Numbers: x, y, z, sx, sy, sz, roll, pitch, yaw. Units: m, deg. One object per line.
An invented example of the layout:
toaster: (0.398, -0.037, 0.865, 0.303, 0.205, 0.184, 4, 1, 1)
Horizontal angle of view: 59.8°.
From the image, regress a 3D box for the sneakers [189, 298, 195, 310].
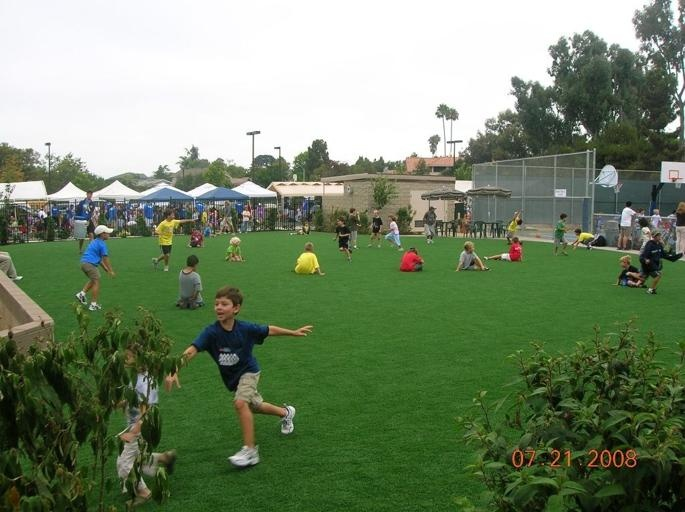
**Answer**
sneakers: (-2.876, 0.915, 11.480, 0.105, 0.157, 0.062, -3, -6, -31)

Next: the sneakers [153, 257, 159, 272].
sneakers: (-5.605, 0.265, 17.919, 0.152, 0.366, 0.129, 13, 20, 21)

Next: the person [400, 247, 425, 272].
person: (1.984, 0.108, 17.521, 0.683, 0.851, 0.638, -8, 13, -44)

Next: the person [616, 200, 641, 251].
person: (11.438, -1.224, 23.767, 0.560, 1.951, 0.667, 0, 8, -10)

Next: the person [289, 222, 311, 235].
person: (-2.565, -1.664, 36.895, 1.233, 0.845, 1.057, -1, 2, 21)

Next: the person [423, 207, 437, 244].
person: (4.203, -1.494, 28.391, 0.471, 1.672, 1.646, 1, 5, 7)

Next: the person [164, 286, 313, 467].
person: (-0.912, 1.054, 5.525, 0.901, 1.564, 0.738, 0, 5, -4)

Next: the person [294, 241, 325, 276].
person: (-0.899, 0.031, 16.709, 1.086, 0.869, 0.688, 16, 22, 28)

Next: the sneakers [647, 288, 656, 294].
sneakers: (6.902, 0.771, 13.248, 0.182, 0.111, 0.411, 3, 6, 29)

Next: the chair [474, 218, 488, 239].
chair: (7.703, -1.550, 33.399, 0.949, 1.324, 0.970, -1, -2, 31)

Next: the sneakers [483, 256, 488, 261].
sneakers: (5.013, 0.079, 20.765, 0.128, 0.115, 0.319, -3, -3, -5)

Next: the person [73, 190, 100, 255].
person: (-9.564, -1.292, 22.362, 0.803, 2.340, 0.818, 5, 4, 36)

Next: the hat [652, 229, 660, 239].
hat: (7.162, -0.470, 13.577, 0.172, 0.251, 0.466, 2, 5, 26)

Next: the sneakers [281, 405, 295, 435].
sneakers: (-0.532, 1.640, 5.942, 0.099, 0.303, 0.129, 0, 1, 35)

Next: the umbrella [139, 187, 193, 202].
umbrella: (-11.316, -4.034, 38.540, 2.666, 0.957, 3.589, -2, 5, -25)

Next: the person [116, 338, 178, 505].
person: (-1.573, 1.323, 4.794, 0.480, 1.289, 1.777, -2, 5, -21)

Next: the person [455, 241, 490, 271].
person: (3.802, -0.004, 17.670, 0.813, 0.835, 1.017, -1, 12, 10)

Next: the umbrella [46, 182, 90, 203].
umbrella: (-19.024, -4.259, 41.199, 2.890, 1.293, 2.799, -3, 4, -44)

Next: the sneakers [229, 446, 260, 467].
sneakers: (-0.846, 1.789, 5.345, 0.321, 0.188, 0.117, 5, -7, -17)

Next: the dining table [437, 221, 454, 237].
dining table: (6.410, -1.629, 36.197, 1.029, 1.078, 1.049, -1, 0, -21)

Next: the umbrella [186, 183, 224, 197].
umbrella: (-10.393, -4.982, 44.532, 2.124, 0.952, 2.672, -7, 5, -39)

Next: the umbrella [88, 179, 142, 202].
umbrella: (-16.607, -4.674, 43.893, 2.513, 0.993, 3.057, 2, 4, 31)

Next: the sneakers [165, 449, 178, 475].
sneakers: (-1.457, 1.753, 5.100, 0.072, 0.227, 0.095, 6, -4, -19)

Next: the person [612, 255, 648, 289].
person: (6.948, 0.486, 14.401, 0.656, 1.082, 0.890, 3, -7, -3)

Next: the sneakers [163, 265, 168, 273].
sneakers: (-5.192, 0.382, 17.517, 0.102, 0.207, 0.282, 1, -9, -21)

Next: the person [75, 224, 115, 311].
person: (-4.915, 0.183, 11.785, 0.654, 1.568, 1.522, -2, 5, -25)

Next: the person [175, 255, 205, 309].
person: (-2.936, 0.494, 11.607, 0.589, 1.042, 0.706, 4, 3, -22)
